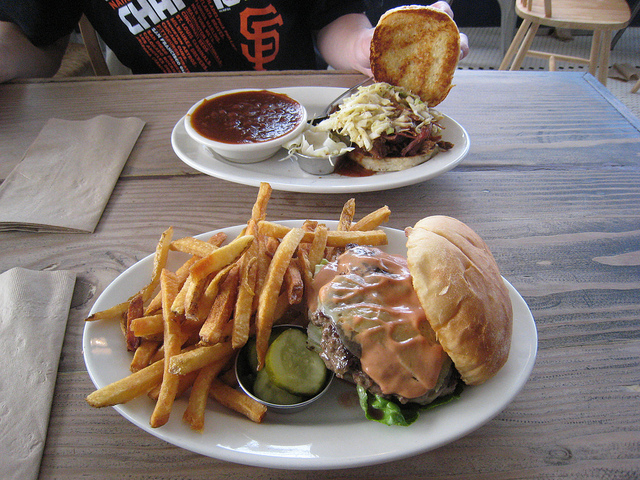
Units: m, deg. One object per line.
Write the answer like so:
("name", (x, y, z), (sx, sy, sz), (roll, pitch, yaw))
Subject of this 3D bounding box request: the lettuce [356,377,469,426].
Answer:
("lettuce", (0.282, 0.694, 2.201), (0.284, 0.350, 0.114), (6, 93, 8))

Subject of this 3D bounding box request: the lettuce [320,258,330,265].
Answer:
("lettuce", (0.020, 0.105, 2.467), (0.031, 0.030, 0.021), (0, 93, 5))

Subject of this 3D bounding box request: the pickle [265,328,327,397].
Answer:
("pickle", (-0.110, 0.538, 2.251), (0.076, 0.334, 0.282), (-37, 62, 33))

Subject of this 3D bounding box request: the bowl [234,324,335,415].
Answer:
("bowl", (-0.127, 0.538, 2.262), (0.411, 0.132, 0.372), (22, 41, -27))
